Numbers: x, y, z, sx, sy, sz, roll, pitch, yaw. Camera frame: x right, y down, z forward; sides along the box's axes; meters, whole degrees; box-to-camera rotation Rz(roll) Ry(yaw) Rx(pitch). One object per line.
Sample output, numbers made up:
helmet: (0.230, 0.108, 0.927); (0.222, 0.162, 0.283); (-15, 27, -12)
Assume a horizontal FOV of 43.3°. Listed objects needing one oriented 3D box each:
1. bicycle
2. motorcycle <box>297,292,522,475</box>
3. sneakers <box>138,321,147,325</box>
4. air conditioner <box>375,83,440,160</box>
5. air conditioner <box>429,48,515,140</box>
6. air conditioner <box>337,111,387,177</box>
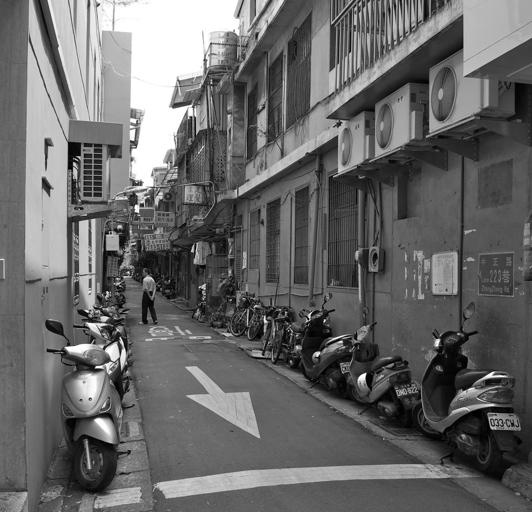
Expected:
bicycle: (0.207, 1.507, 13.204); (0.717, 1.018, 1.760); (26, 2, -15)
motorcycle: (1.838, 1.302, 7.028); (0.846, 1.414, 1.889); (5, 4, -23)
sneakers: (-3.816, 2.037, 20.725); (0.159, 0.101, 0.072); (6, 3, 8)
air conditioner: (1.846, -1.764, 9.076); (0.442, 0.835, 0.892); (5, -9, -30)
air conditioner: (2.227, -1.835, 7.556); (0.437, 0.825, 0.908); (-1, -6, -27)
air conditioner: (1.351, -1.702, 10.269); (0.220, 0.805, 0.709); (5, -10, -32)
